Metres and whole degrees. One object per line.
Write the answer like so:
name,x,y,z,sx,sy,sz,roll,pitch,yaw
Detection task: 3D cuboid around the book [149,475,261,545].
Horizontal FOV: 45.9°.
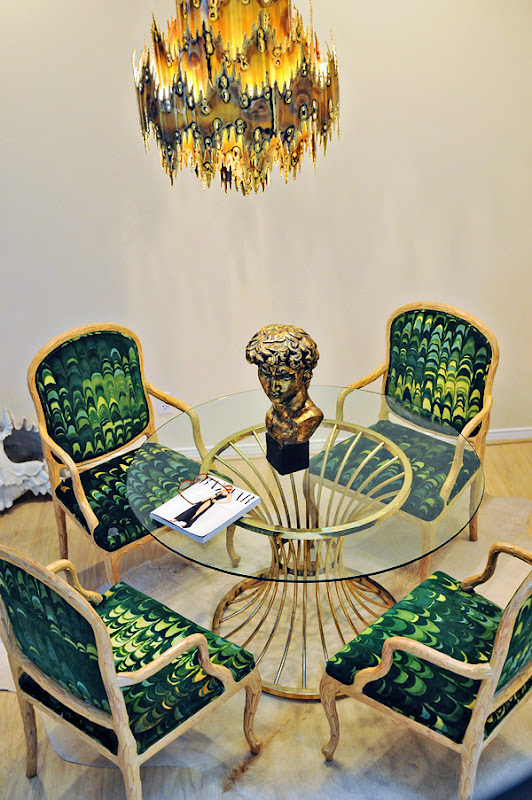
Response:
book,-0.182,0.337,1.950,0.195,0.040,0.198,12,31,36
